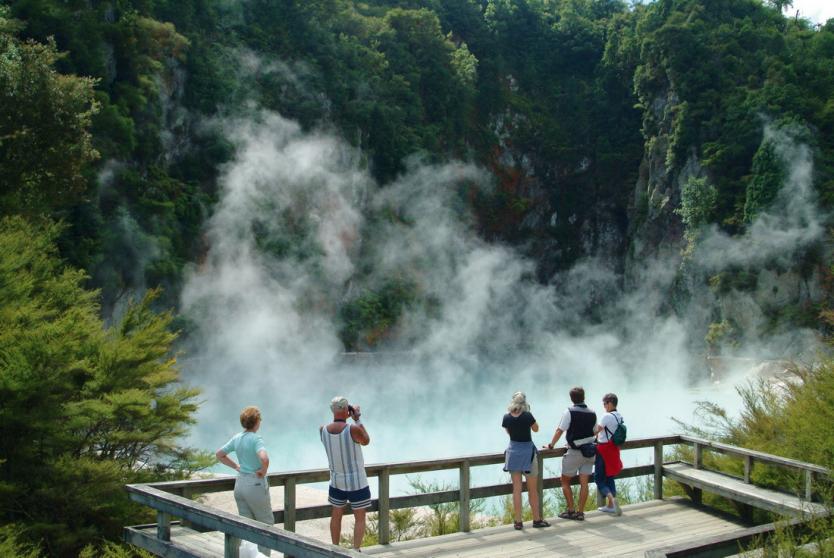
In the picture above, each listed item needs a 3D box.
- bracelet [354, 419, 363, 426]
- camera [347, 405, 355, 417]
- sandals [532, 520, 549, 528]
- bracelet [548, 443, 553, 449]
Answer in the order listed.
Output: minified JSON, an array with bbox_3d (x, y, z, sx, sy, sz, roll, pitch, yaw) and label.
[{"bbox_3d":[-2.349,5.776,40.501,0.260,0.281,0.223,-11,27,-16],"label":"bracelet"},{"bbox_3d":[-2.641,5.268,40.431,0.155,0.521,0.179,-6,14,-33],"label":"camera"},{"bbox_3d":[5.009,9.916,41.272,0.554,0.293,0.288,-4,2,-16],"label":"sandals"},{"bbox_3d":[5.476,6.855,41.656,0.145,0.141,0.360,-2,-12,6],"label":"bracelet"}]
